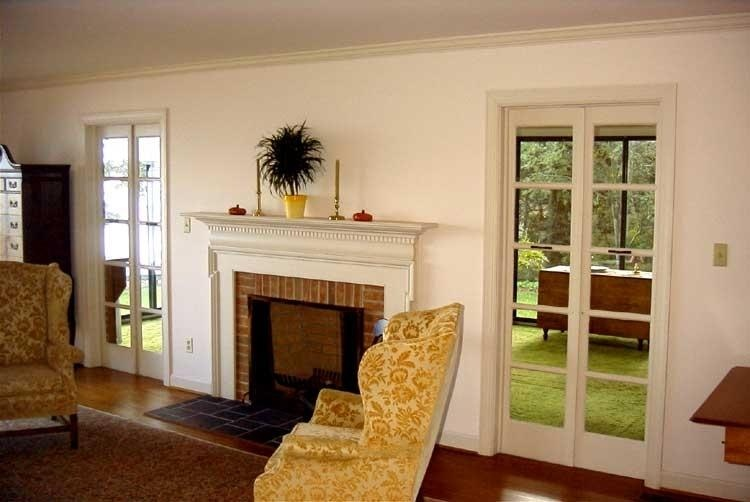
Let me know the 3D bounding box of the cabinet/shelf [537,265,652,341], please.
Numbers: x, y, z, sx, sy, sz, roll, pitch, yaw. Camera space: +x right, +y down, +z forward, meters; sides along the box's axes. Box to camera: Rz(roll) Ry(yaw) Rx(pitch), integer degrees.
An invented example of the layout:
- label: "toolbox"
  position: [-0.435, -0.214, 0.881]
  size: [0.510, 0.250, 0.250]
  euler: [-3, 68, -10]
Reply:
- label: "cabinet/shelf"
  position: [1.634, 0.378, 4.134]
  size: [0.600, 0.352, 0.190]
  euler: [2, 6, 24]

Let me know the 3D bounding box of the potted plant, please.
- label: "potted plant"
  position: [-0.784, -0.706, 4.874]
  size: [0.599, 0.782, 0.371]
  euler: [10, 15, 35]
